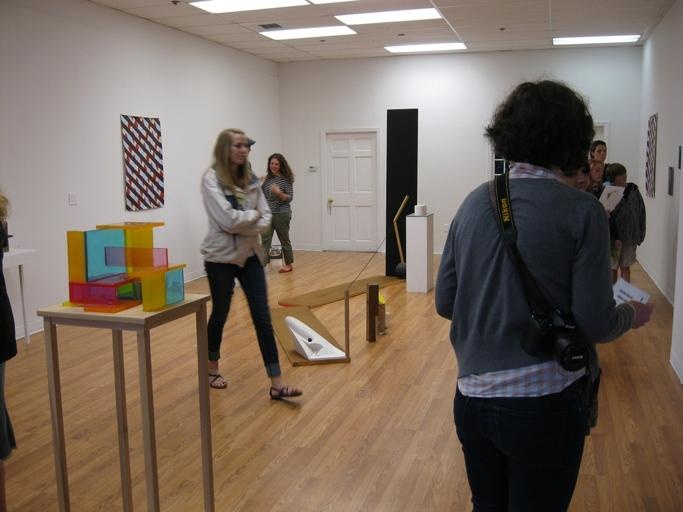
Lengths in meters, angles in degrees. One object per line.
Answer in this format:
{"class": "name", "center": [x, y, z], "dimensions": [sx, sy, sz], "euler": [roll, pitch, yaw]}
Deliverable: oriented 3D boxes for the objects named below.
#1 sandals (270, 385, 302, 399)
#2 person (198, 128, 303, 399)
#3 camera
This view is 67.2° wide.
{"class": "sandals", "center": [-0.415, 0.995, 3.816], "dimensions": [0.228, 0.096, 0.097], "euler": [-2, 2, 1]}
{"class": "person", "center": [-0.692, 0.082, 3.671], "dimensions": [0.714, 1.969, 0.429], "euler": [-2, 9, 2]}
{"class": "camera", "center": [0.655, 0.257, 1.526], "dimensions": [0.145, 0.160, 0.161], "euler": [4, 6, -8]}
